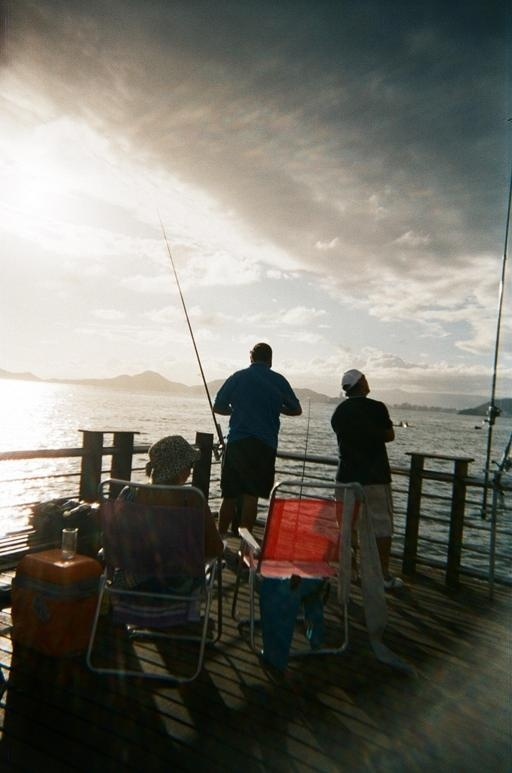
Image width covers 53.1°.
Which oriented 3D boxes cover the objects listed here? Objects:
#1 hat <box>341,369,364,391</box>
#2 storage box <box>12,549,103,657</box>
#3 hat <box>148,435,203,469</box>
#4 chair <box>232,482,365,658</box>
[{"bbox_3d":[0.690,-0.041,3.682,0.109,0.086,0.179,-18,5,32],"label":"hat"},{"bbox_3d":[-0.976,1.050,2.546,0.428,0.398,0.270,-4,-7,34],"label":"storage box"},{"bbox_3d":[-0.389,0.301,2.390,0.181,0.101,0.150,-3,3,-3],"label":"hat"},{"bbox_3d":[0.191,0.906,2.805,0.549,0.873,0.690,5,3,6],"label":"chair"}]
